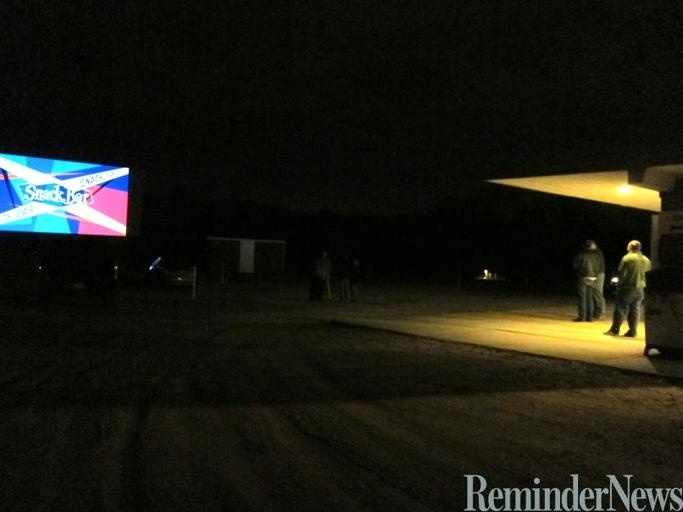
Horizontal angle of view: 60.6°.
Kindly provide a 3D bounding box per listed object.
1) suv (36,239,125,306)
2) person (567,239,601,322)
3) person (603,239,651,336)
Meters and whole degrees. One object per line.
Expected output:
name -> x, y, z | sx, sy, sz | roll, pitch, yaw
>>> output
suv -> -9.925, 0.571, 21.784 | 2.706, 2.073, 2.503 | 5, -7, -42
person -> 7.180, 0.742, 17.020 | 0.768, 1.599, 1.619 | 1, 1, 24
person -> 6.617, 0.786, 13.388 | 0.711, 1.631, 1.020 | 1, 1, 12
